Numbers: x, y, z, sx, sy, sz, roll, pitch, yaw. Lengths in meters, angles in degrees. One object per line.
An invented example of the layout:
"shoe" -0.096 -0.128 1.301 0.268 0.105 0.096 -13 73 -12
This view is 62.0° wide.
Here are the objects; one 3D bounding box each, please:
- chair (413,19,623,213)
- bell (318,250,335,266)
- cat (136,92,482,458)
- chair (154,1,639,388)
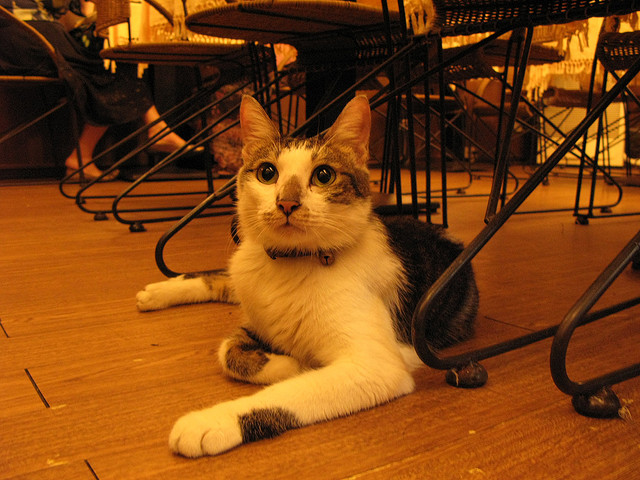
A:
"chair" 1.834 -0.810 4.642 1.350 1.158 2.307 1 13 35
"bell" 0.012 0.040 1.093 0.032 0.027 0.015 4 23 6
"cat" -0.058 -0.010 1.358 0.791 0.653 1.032 4 8 38
"chair" 0.263 -0.192 1.294 0.893 0.720 0.919 -6 24 -17
